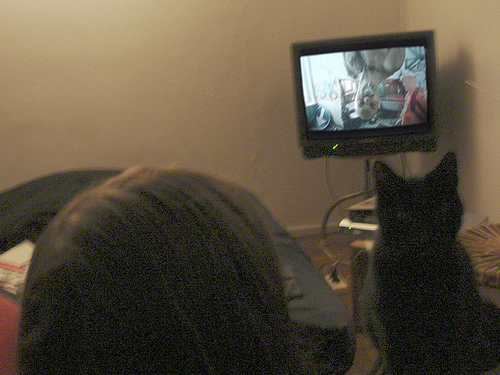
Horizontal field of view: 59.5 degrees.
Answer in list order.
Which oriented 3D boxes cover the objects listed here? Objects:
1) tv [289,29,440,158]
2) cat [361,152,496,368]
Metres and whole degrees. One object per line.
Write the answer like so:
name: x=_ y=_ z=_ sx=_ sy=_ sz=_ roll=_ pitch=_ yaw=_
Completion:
tv: x=0.182 y=-0.147 z=0.751 sx=0.246 sy=0.188 sz=0.133 roll=-5 pitch=2 yaw=-4
cat: x=0.277 y=0.124 z=0.730 sx=0.200 sy=0.303 sz=0.232 roll=-6 pitch=24 yaw=11
